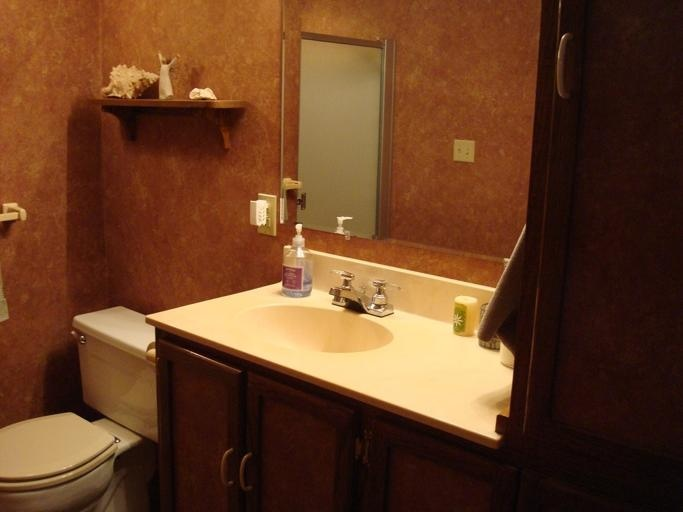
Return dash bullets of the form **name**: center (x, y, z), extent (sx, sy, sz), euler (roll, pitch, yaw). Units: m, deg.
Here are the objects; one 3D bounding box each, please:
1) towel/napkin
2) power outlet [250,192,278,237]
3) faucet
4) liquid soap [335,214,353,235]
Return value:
- **towel/napkin**: center (0.345, 0.074, 1.240), extent (0.053, 0.229, 0.199), euler (8, 12, 12)
- **power outlet**: center (-0.283, -0.146, 2.077), extent (0.072, 0.146, 0.095), euler (-9, 17, -40)
- **faucet**: center (0.056, 0.102, 1.847), extent (0.103, 0.124, 0.212), euler (-10, 18, -44)
- **liquid soap**: center (0.004, -0.107, 1.937), extent (0.058, 0.067, 0.054), euler (2, 15, -9)
